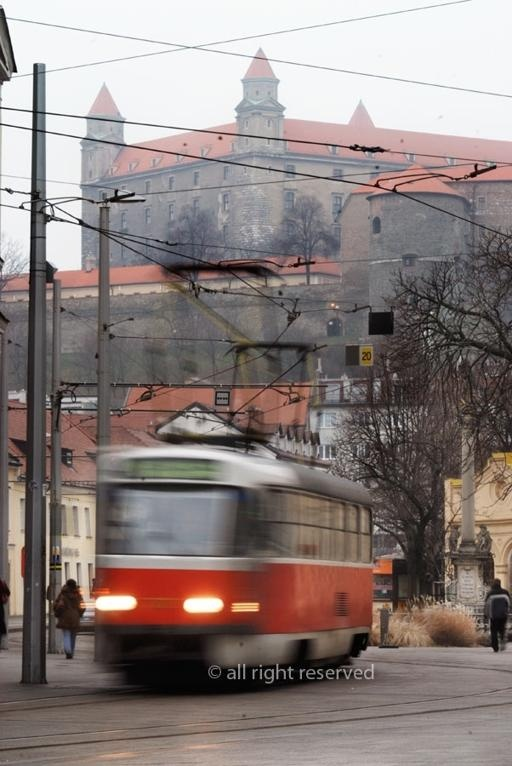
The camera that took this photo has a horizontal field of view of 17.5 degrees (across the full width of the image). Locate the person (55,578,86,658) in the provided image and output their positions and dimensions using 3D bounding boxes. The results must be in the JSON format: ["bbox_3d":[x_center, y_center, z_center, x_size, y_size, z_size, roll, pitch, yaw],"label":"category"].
[{"bbox_3d":[-2.946,3.771,26.517,0.652,1.283,0.686,1,-5,14],"label":"person"}]

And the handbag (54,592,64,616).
[{"bbox_3d":[-3.084,3.492,26.355,0.108,0.328,0.253,5,1,5],"label":"handbag"}]
